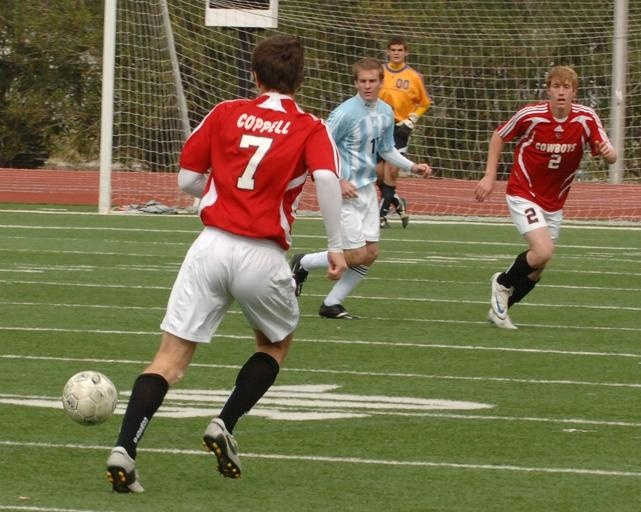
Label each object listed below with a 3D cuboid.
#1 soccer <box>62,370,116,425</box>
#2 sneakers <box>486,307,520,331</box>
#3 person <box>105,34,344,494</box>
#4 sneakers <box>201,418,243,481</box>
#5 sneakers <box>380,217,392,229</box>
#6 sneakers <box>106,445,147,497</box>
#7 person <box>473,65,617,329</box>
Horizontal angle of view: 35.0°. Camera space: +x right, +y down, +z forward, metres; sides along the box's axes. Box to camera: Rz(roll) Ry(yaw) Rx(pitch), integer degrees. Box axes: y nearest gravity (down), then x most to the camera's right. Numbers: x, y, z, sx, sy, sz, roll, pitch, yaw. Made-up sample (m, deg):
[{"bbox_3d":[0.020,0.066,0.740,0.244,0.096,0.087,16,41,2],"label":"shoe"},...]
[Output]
[{"bbox_3d":[-1.055,0.646,4.626,0.277,0.177,0.221,6,16,4],"label":"soccer"},{"bbox_3d":[1.381,0.492,7.851,0.339,0.111,0.095,20,14,-3],"label":"sneakers"},{"bbox_3d":[-0.452,-0.003,4.513,1.047,1.987,0.516,2,9,-39],"label":"person"},{"bbox_3d":[-0.414,0.832,4.339,0.170,0.295,0.212,8,6,8],"label":"sneakers"},{"bbox_3d":[1.067,-0.519,15.745,0.170,0.176,0.222,0,-7,6],"label":"sneakers"},{"bbox_3d":[-0.813,0.877,4.195,0.083,0.214,0.137,12,8,27],"label":"sneakers"},{"bbox_3d":[1.693,-0.438,7.739,0.979,2.027,0.665,9,7,13],"label":"person"}]
